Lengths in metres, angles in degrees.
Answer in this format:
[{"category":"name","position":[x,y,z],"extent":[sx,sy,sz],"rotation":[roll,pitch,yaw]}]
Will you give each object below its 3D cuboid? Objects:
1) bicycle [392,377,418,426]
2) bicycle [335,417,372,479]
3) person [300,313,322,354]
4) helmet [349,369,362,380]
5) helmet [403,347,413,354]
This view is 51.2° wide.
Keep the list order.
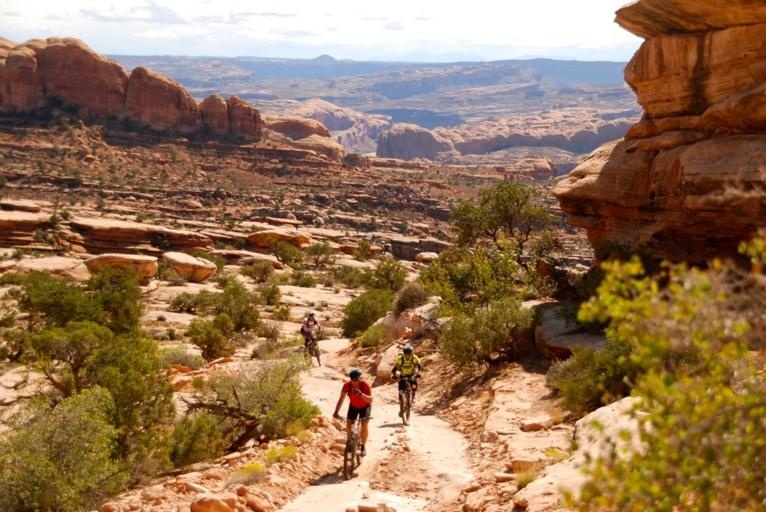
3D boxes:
[{"category":"bicycle","position":[0.843,5.159,28.365],"extent":[0.568,1.615,0.979],"rotation":[3,15,3]},{"category":"bicycle","position":[-0.977,6.163,25.647],"extent":[0.526,1.535,1.344],"rotation":[5,15,13]},{"category":"person","position":[-3.117,3.343,34.947],"extent":[0.671,2.135,1.476],"rotation":[2,15,-1]},{"category":"helmet","position":[-0.846,3.809,25.816],"extent":[0.353,0.338,0.328],"rotation":[-4,16,-22]},{"category":"helmet","position":[0.914,3.326,28.372],"extent":[0.284,0.283,0.277],"rotation":[-1,15,-11]}]
